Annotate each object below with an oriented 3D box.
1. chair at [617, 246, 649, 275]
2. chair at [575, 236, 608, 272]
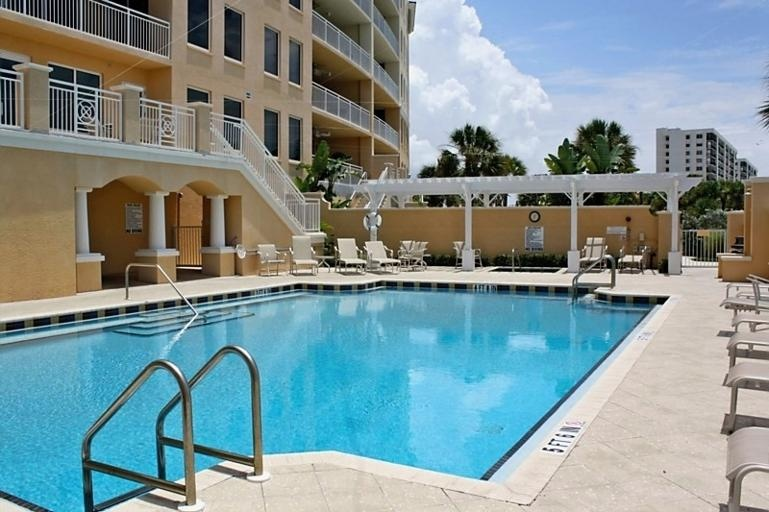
[{"bbox_3d":[9.621,0.131,21.770,1.275,1.179,0.924,0,0,19],"label":"chair"},{"bbox_3d":[7.735,-0.055,21.062,0.831,1.149,1.129,3,10,26],"label":"chair"}]
